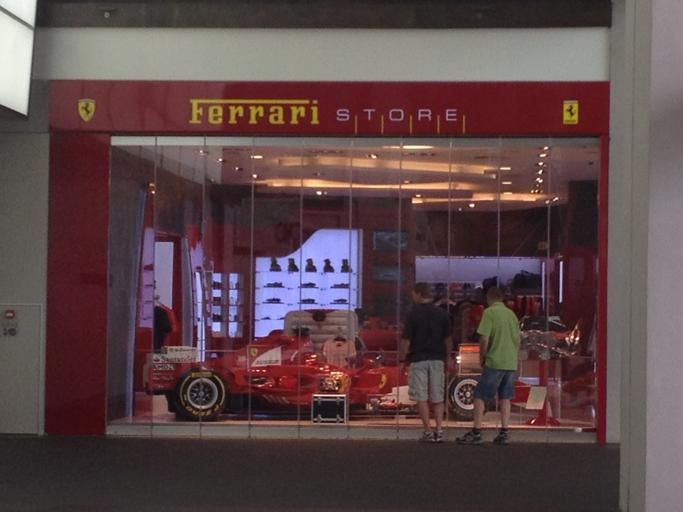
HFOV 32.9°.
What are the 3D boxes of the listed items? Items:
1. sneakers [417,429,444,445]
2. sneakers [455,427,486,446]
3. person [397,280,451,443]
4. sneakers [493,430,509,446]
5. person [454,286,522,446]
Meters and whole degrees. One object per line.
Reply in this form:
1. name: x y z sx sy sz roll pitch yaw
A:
1. sneakers: 1.230 2.498 15.994 0.293 0.159 0.067 0 -3 2
2. sneakers: 1.778 2.507 16.008 0.378 0.222 0.170 0 -2 10
3. person: 1.182 1.469 16.186 0.681 2.215 0.411 -1 -3 7
4. sneakers: 2.210 2.509 16.009 0.123 0.190 0.255 3 0 3
5. person: 2.091 1.521 16.093 0.795 2.164 0.449 0 -3 -2
